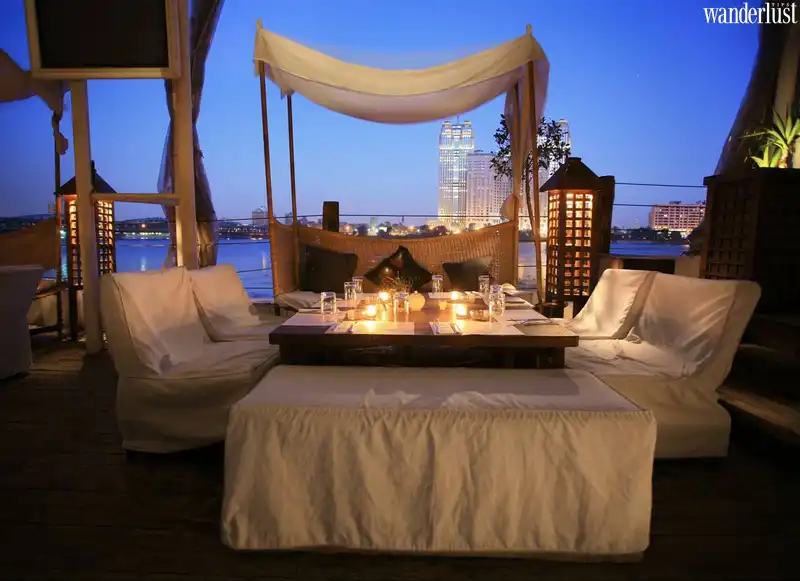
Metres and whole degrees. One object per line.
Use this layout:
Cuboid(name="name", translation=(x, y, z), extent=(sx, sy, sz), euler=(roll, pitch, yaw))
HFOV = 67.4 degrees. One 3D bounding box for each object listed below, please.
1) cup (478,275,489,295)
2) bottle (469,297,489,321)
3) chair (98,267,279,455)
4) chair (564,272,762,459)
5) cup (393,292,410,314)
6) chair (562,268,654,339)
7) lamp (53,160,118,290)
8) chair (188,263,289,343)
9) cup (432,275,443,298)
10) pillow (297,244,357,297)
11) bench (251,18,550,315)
Cuboid(name="cup", translation=(0.633, -0.046, 4.481), extent=(0.069, 0.151, 0.200), euler=(2, 13, 7))
Cuboid(name="bottle", translation=(0.545, 0.131, 4.086), extent=(0.111, 0.043, 0.177), euler=(-1, 13, 2))
Cuboid(name="chair", translation=(-1.263, 0.314, 4.272), extent=(0.817, 0.907, 1.698), euler=(6, 9, 5))
Cuboid(name="chair", translation=(1.464, 0.410, 4.348), extent=(1.072, 1.140, 1.967), euler=(0, 6, -5))
Cuboid(name="cup", translation=(0.009, 0.076, 3.717), extent=(0.118, 0.147, 0.108), euler=(0, -3, 0))
Cuboid(name="chair", translation=(1.511, 0.086, 4.289), extent=(0.531, 0.358, 0.539), euler=(-12, 5, -6))
Cuboid(name="lamp", translation=(-3.007, -0.635, 5.784), extent=(0.535, 1.203, 1.215), euler=(-6, 15, -28))
Cuboid(name="chair", translation=(-1.194, 0.097, 4.391), extent=(0.572, 0.413, 0.603), euler=(12, 8, 7))
Cuboid(name="cup", translation=(0.286, -0.035, 4.482), extent=(0.077, 0.176, 0.142), euler=(2, 13, 5))
Cuboid(name="pillow", translation=(-0.715, -0.201, 5.746), extent=(0.479, 0.491, 0.424), euler=(9, 7, -7))
Cuboid(name="bench", translation=(-0.198, -1.622, 6.526), extent=(2.835, 2.568, 2.317), euler=(-5, 26, -14))
